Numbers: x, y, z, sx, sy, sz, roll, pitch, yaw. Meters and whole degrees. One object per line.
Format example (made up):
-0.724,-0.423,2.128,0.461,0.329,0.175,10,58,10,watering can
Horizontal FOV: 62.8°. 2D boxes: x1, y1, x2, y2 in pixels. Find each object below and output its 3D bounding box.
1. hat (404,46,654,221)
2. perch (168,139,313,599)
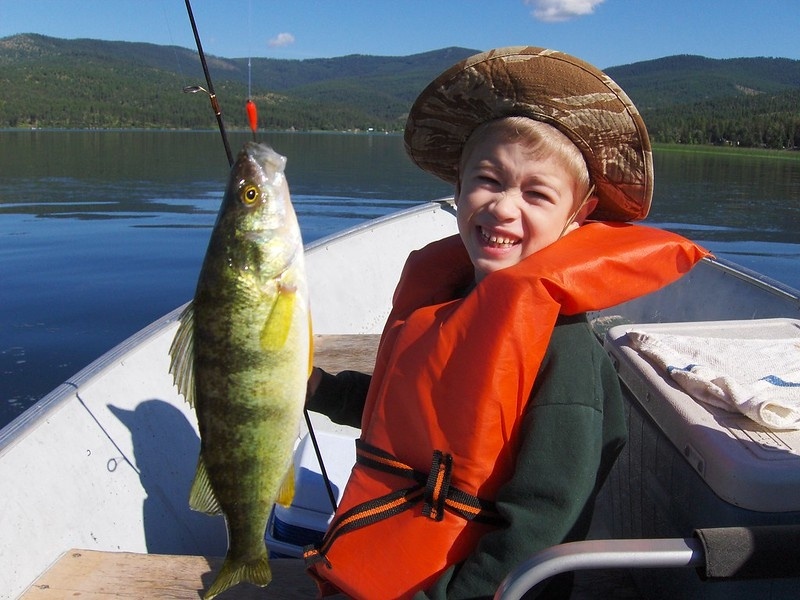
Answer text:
0.498,-0.612,2.630,0.934,0.286,1.016,-6,-36,24,hat
-0.531,0.251,2.202,0.455,1.517,0.202,-5,11,-21,perch
